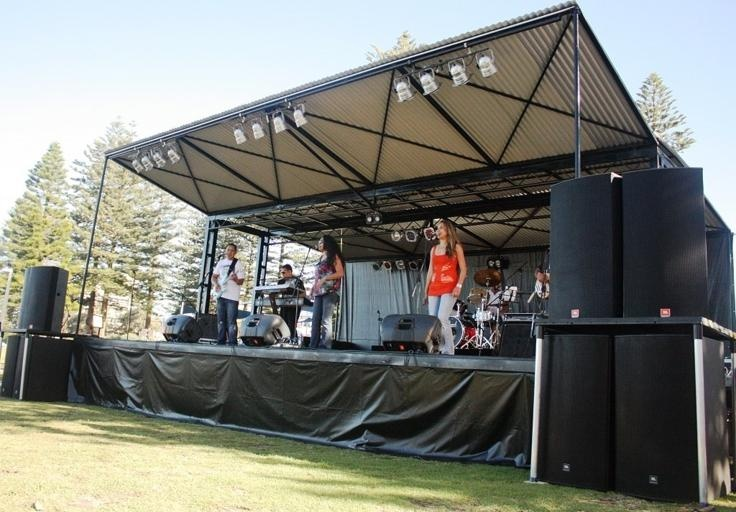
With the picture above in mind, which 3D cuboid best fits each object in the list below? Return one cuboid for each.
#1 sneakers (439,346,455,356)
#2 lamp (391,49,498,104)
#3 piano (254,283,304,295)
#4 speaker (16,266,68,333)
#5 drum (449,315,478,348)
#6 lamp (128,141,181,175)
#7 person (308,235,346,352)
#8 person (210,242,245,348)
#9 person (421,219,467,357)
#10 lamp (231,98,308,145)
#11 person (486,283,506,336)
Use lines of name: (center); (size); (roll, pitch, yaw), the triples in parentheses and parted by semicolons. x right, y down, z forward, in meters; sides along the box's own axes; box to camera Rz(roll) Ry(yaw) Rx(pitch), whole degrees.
sneakers: (0.952, 1.144, 6.497); (0.171, 0.150, 0.168); (0, 10, 5)
lamp: (1.003, -2.628, 7.785); (1.482, 0.497, 0.307); (0, 6, 36)
piano: (-1.705, 0.608, 9.746); (1.249, 0.188, 0.275); (-7, -13, 42)
speaker: (-5.288, 0.692, 8.666); (0.592, 1.078, 0.404); (8, -12, -32)
drum: (1.945, 1.582, 11.356); (0.513, 0.657, 0.665); (0, -3, -39)
lamp: (-4.308, -1.991, 10.680); (0.810, 0.263, 0.249); (-14, -17, 27)
person: (-0.587, 0.469, 7.507); (0.399, 1.623, 0.596); (3, -10, -7)
person: (-2.181, 0.545, 8.243); (0.460, 1.600, 0.813); (6, -11, -21)
person: (0.976, 0.348, 6.805); (0.568, 1.718, 0.371); (-3, -11, 24)
lamp: (-1.717, -2.300, 9.213); (1.320, 0.429, 0.275); (-14, 3, 8)
person: (2.611, 1.117, 10.947); (0.412, 1.090, 0.478); (14, -40, 6)
